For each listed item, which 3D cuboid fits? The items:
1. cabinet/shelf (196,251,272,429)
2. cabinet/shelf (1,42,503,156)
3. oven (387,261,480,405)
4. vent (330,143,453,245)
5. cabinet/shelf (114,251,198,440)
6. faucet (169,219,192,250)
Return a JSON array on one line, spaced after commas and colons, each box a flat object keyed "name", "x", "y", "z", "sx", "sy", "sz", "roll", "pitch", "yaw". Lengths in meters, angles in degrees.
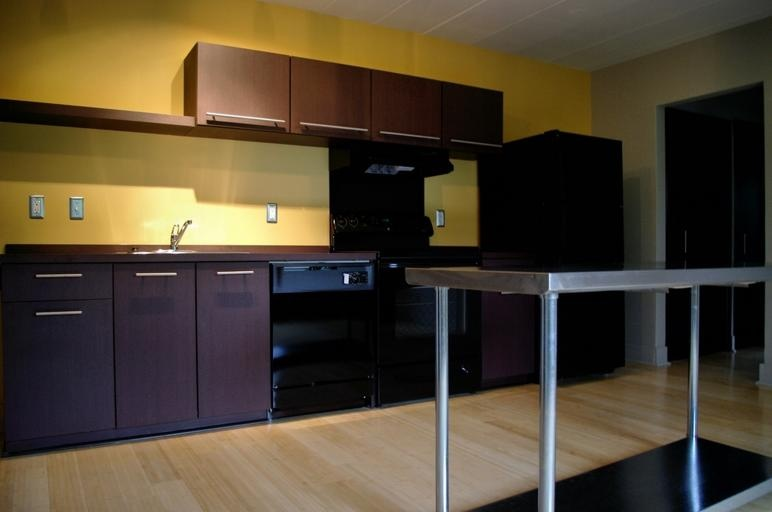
[{"name": "cabinet/shelf", "x": -1.016, "y": 0.547, "z": 4.002, "sx": 0.479, "sy": 1.000, "sz": 0.196, "roll": -3, "pitch": 10, "yaw": -14}, {"name": "cabinet/shelf", "x": -0.668, "y": -1.149, "z": 4.458, "sx": 3.436, "sy": 0.749, "sz": 0.420, "roll": -4, "pitch": 10, "yaw": -21}, {"name": "oven", "x": 0.414, "y": 0.616, "z": 4.767, "sx": 0.807, "sy": 1.042, "sz": 0.715, "roll": -6, "pitch": -16, "yaw": 9}, {"name": "vent", "x": -0.018, "y": -0.442, "z": 4.888, "sx": 0.941, "sy": 0.829, "sz": 0.504, "roll": -1, "pitch": 21, "yaw": 16}, {"name": "cabinet/shelf", "x": -1.468, "y": 0.566, "z": 3.839, "sx": 0.504, "sy": 1.026, "sz": 0.176, "roll": -3, "pitch": 10, "yaw": -16}, {"name": "faucet", "x": -1.466, "y": -0.150, "z": 4.300, "sx": 0.167, "sy": 0.211, "sz": 0.184, "roll": -4, "pitch": 10, "yaw": -19}]
